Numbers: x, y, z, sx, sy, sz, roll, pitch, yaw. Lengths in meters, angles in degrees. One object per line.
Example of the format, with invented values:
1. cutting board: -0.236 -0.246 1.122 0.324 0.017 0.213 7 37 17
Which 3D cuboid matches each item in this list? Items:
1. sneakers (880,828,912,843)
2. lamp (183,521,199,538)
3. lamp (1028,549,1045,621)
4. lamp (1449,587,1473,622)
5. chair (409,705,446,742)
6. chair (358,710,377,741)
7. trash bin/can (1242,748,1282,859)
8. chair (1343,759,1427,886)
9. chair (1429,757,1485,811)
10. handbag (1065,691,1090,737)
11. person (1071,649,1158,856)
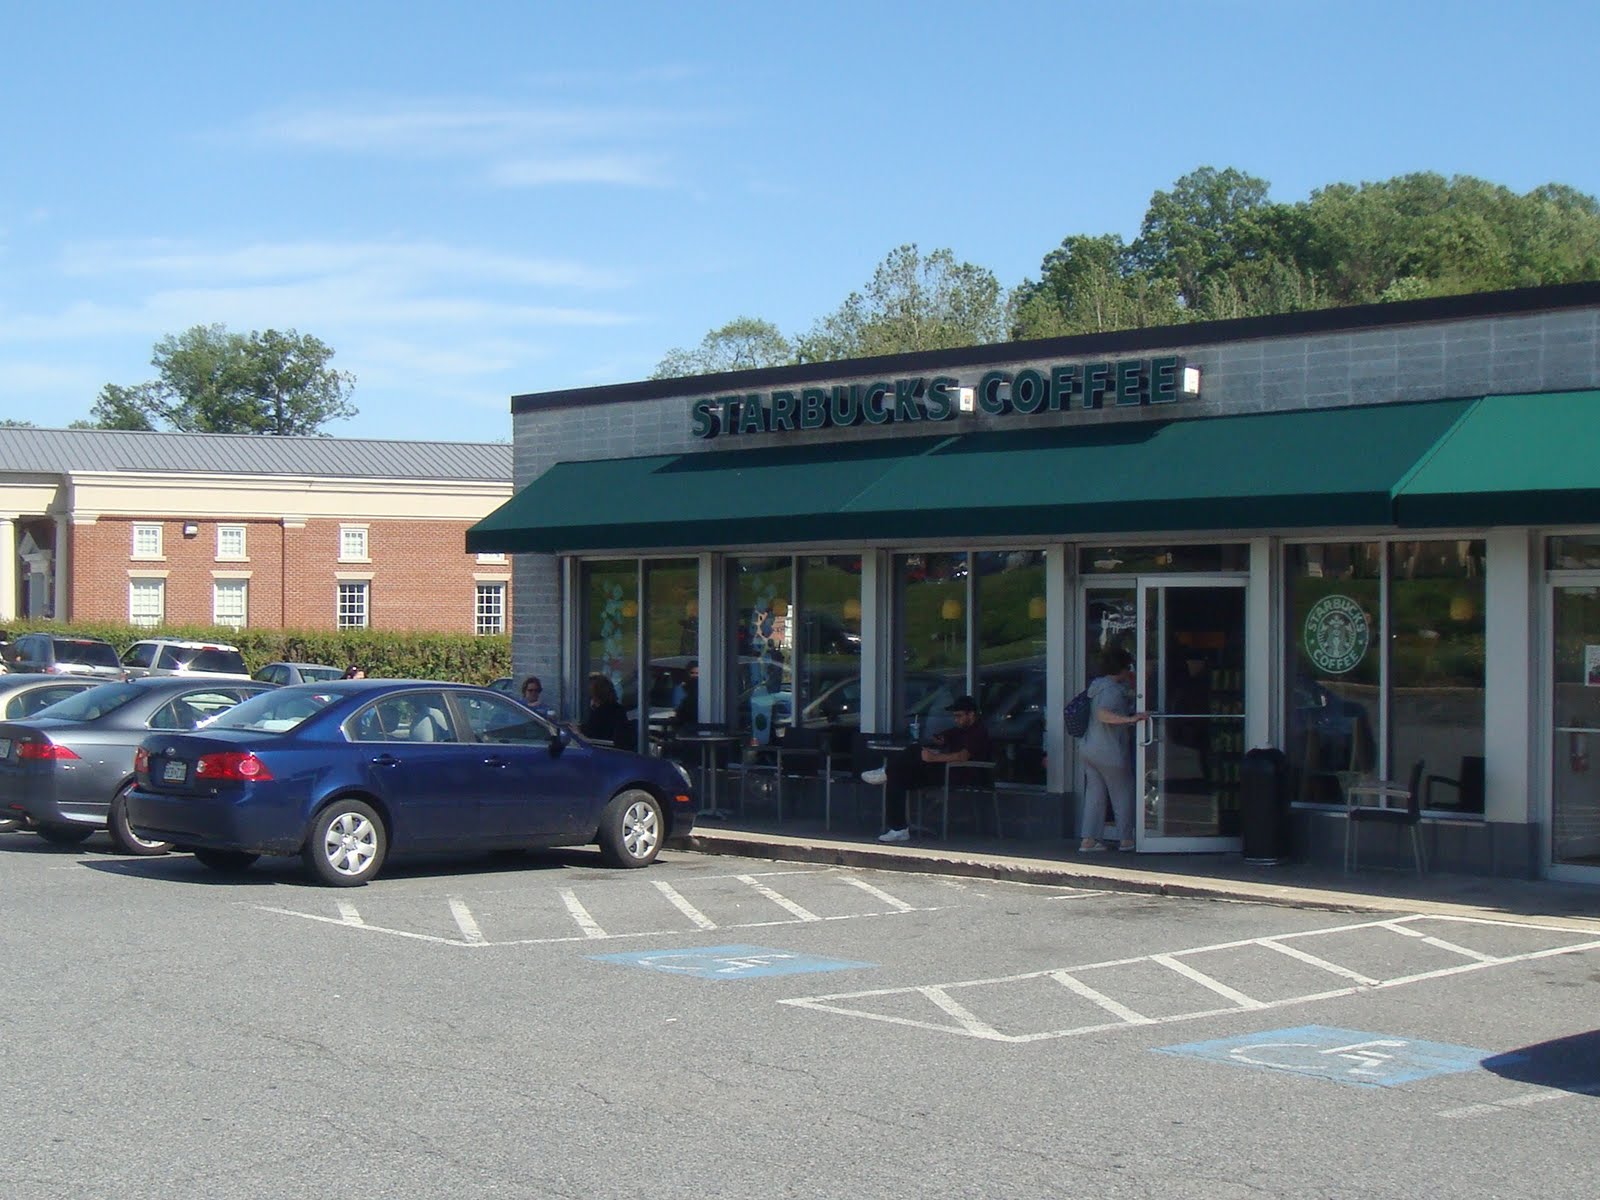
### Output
1. sneakers: 1.024 2.525 17.894 0.348 0.132 0.114 4 -8 -29
2. lamp: -20.444 -2.298 56.601 0.506 0.580 0.692 0 -3 -23
3. lamp: 2.610 -0.156 18.468 0.083 0.747 0.340 0 -3 -24
4. lamp: 6.201 0.062 15.798 0.226 0.222 0.124 -6 -10 38
5. chair: -3.326 1.116 14.962 0.281 0.201 0.390 8 17 -2
6. chair: -3.763 1.106 14.637 0.128 0.129 0.236 -6 10 20
7. trash bin/can: 4.481 1.995 16.241 0.412 1.085 0.187 -2 -3 18
8. chair: 5.672 2.130 16.326 0.976 1.474 0.913 1 -7 18
9. chair: 6.149 1.745 15.789 0.428 0.632 0.487 5 -4 -40
10. handbag: 2.848 1.176 17.220 0.261 0.467 0.183 -1 -3 10
11. person: 3.193 1.589 17.310 0.659 1.975 0.938 -1 -3 9
